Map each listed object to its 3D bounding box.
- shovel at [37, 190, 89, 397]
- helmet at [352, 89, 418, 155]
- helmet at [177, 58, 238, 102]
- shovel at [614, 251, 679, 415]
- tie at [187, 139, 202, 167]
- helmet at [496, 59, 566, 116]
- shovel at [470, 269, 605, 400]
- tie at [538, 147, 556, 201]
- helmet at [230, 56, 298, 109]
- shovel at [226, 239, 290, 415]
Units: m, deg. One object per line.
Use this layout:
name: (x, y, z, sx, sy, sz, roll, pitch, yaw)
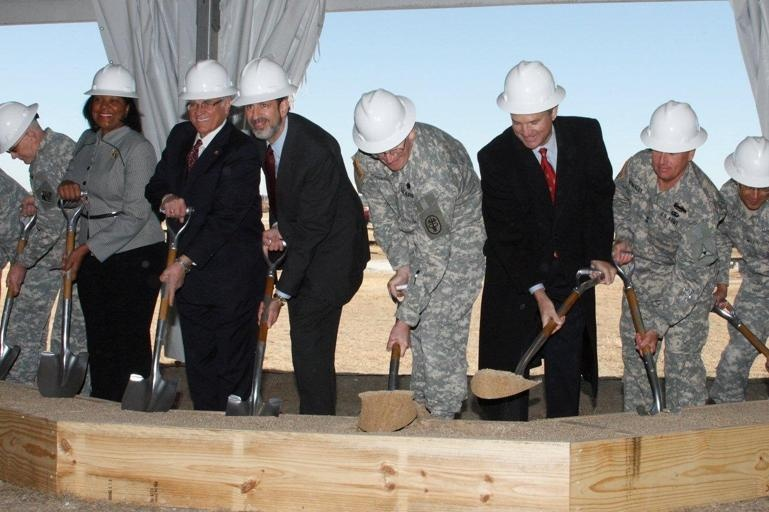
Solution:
shovel: (-2.252, 0.316, 6.477, 0.325, 1.559, 0.924, 0, 3, -17)
helmet: (0.019, -0.914, 5.875, 0.399, 0.443, 0.239, 1, 3, -2)
helmet: (-1.227, -1.312, 6.408, 0.269, 0.194, 0.347, 0, 18, 7)
shovel: (1.731, 0.595, 6.366, 0.214, 1.247, 0.406, -31, -36, 33)
tie: (-1.336, -0.779, 6.538, 0.044, 0.189, 0.128, 19, -11, -18)
helmet: (1.012, -1.204, 6.210, 0.445, 0.398, 0.218, 1, 3, 8)
shovel: (1.035, 0.543, 6.026, 0.504, 1.333, 0.184, 16, 24, -32)
tie: (1.176, -0.619, 6.421, 0.086, 0.437, 0.088, -8, -11, 5)
helmet: (-0.808, -1.231, 6.213, 0.307, 0.230, 0.385, 3, 22, 25)
shovel: (-0.828, 0.516, 6.059, 0.360, 1.077, 0.520, 0, 3, -5)
